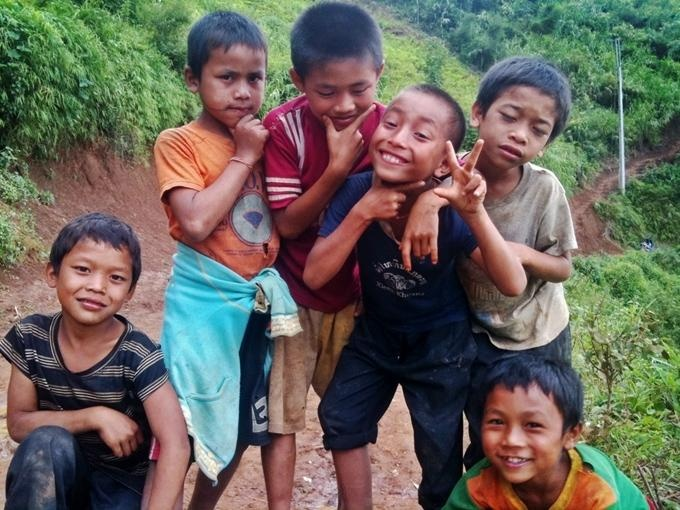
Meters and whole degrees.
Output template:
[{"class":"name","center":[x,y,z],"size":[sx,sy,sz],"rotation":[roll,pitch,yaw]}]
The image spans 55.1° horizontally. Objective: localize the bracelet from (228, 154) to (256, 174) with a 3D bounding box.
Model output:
[{"class":"bracelet","center":[-0.505,-0.477,3.364],"size":[0.088,0.041,0.079],"rotation":[24,-1,9]}]

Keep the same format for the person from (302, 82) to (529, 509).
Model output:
[{"class":"person","center":[0.337,0.309,3.449],"size":[1.041,2.342,0.653],"rotation":[4,15,-4]}]
